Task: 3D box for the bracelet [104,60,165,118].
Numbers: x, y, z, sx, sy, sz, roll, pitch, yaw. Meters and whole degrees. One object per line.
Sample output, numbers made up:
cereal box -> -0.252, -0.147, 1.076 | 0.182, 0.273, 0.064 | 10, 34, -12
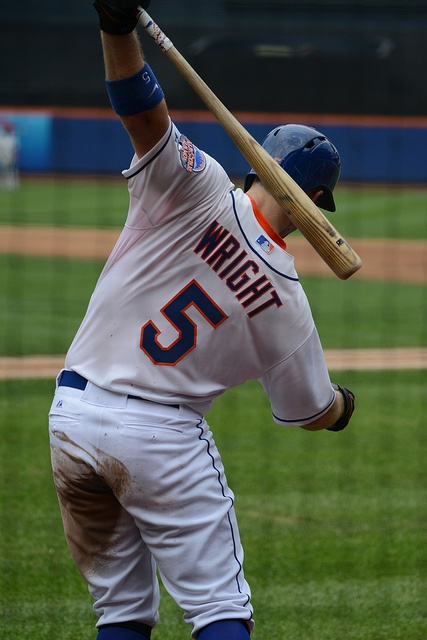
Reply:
bracelet -> -0.182, -0.521, 1.677 | 0.123, 0.080, 0.111 | -24, 38, -5
